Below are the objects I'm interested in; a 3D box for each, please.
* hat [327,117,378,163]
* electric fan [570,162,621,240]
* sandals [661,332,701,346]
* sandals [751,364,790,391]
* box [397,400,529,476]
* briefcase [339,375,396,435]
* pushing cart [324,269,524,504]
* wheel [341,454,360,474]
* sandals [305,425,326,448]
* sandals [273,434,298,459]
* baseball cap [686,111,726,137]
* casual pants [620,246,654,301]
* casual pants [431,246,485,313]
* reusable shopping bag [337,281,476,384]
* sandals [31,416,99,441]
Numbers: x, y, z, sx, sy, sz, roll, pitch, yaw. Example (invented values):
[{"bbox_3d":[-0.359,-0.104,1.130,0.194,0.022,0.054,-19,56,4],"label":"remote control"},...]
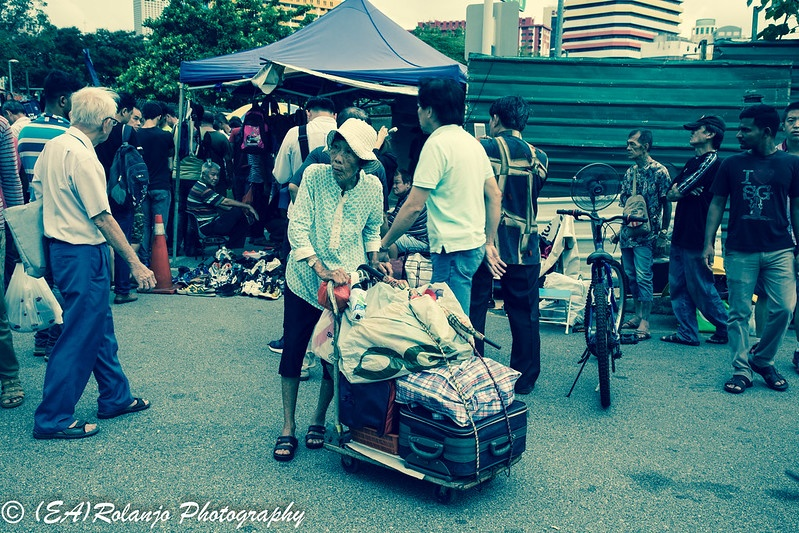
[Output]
[{"bbox_3d":[-0.349,-1.070,6.337,0.298,0.194,0.376,34,-10,0],"label":"hat"},{"bbox_3d":[2.231,-0.807,8.673,0.714,0.788,0.574,-5,7,-2],"label":"electric fan"},{"bbox_3d":[3.421,0.899,9.298,0.425,0.123,0.162,10,7,32],"label":"sandals"},{"bbox_3d":[3.923,1.176,8.054,0.167,0.155,0.402,-22,39,-20],"label":"sandals"},{"bbox_3d":[0.510,1.482,6.463,0.815,0.387,0.975,5,0,30],"label":"box"},{"bbox_3d":[-0.241,1.122,6.277,0.479,0.426,0.187,9,17,29],"label":"briefcase"},{"bbox_3d":[0.181,0.928,6.605,1.791,1.408,1.338,8,14,26],"label":"pushing cart"},{"bbox_3d":[-0.407,1.672,6.483,0.184,0.176,0.061,18,12,42],"label":"wheel"},{"bbox_3d":[-0.757,1.520,6.834,0.173,0.200,0.111,-1,9,-4],"label":"sandals"},{"bbox_3d":[-0.995,1.588,6.690,0.215,0.204,0.160,-2,9,-10],"label":"sandals"},{"bbox_3d":[3.688,-1.685,9.155,0.515,0.231,0.320,5,4,8],"label":"baseball cap"},{"bbox_3d":[2.951,0.049,9.516,0.371,0.814,0.258,0,8,39],"label":"casual pants"},{"bbox_3d":[0.636,0.138,7.288,0.245,0.698,0.336,8,27,8],"label":"casual pants"},{"bbox_3d":[0.058,0.556,6.197,0.971,0.751,0.336,-9,-27,-4],"label":"reusable shopping bag"},{"bbox_3d":[-2.963,1.470,6.825,0.534,0.164,0.192,-3,7,-15],"label":"sandals"}]
